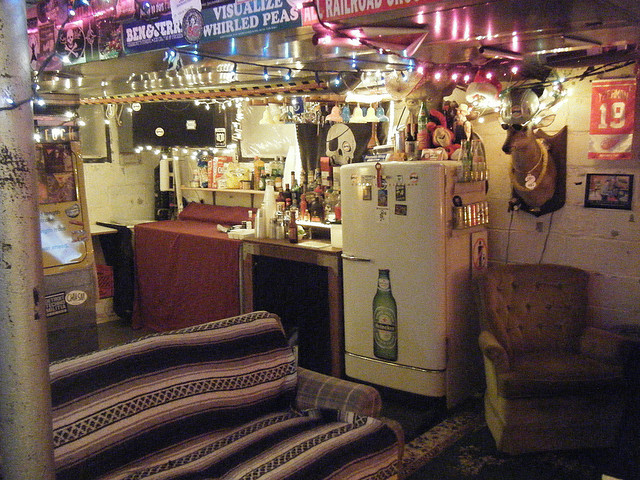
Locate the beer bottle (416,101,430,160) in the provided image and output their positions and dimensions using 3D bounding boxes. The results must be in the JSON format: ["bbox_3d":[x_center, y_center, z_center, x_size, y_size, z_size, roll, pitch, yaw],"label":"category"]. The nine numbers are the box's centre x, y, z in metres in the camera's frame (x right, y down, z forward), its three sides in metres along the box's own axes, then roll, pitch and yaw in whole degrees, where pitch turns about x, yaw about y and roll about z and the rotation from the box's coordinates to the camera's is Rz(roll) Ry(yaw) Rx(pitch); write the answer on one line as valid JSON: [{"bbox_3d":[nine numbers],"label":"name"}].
[{"bbox_3d":[0.906,-0.955,4.460,0.105,0.495,0.162,1,12,9],"label":"beer bottle"}]

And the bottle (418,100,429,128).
[{"bbox_3d":[0.907,-1.098,4.469,0.086,0.227,0.070,2,12,10],"label":"bottle"}]

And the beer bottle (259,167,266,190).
[{"bbox_3d":[-0.669,-0.715,5.950,0.070,0.248,0.132,-3,12,-10],"label":"beer bottle"}]

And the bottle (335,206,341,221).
[{"bbox_3d":[0.171,-0.262,4.934,0.032,0.125,0.121,-5,12,-22],"label":"bottle"}]

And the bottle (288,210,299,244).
[{"bbox_3d":[-0.257,-0.134,4.940,0.084,0.290,0.193,-1,11,-3],"label":"bottle"}]

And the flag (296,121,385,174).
[{"bbox_3d":[0.199,-0.934,5.162,0.918,0.500,0.008,-7,11,-24],"label":"flag"}]

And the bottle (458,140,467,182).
[{"bbox_3d":[1.174,-0.650,4.189,0.063,0.332,0.290,2,12,13],"label":"bottle"}]

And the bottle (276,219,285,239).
[{"bbox_3d":[-0.396,-0.108,5.082,0.082,0.181,0.107,-4,12,-14],"label":"bottle"}]

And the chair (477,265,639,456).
[{"bbox_3d":[1.677,0.864,3.706,1.002,1.198,0.863,3,12,16],"label":"chair"}]
